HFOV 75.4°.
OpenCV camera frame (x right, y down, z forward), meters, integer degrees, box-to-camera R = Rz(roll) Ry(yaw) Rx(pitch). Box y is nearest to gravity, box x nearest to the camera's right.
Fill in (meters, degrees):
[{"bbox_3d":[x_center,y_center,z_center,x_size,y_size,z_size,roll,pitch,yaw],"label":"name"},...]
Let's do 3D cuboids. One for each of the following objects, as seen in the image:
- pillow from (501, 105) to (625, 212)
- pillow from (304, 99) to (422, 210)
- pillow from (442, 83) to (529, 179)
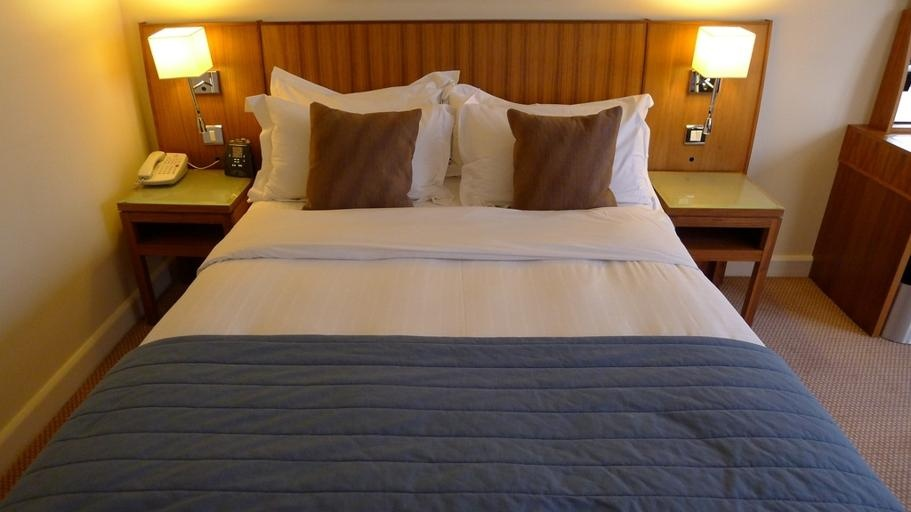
[{"bbox_3d":[0.633,-0.549,3.517,0.745,0.616,0.247,1,-5,2],"label":"pillow"},{"bbox_3d":[-0.561,-0.572,3.536,0.764,0.618,0.249,1,7,-2],"label":"pillow"},{"bbox_3d":[0.126,-0.833,3.740,0.600,0.557,0.176,1,-7,-23],"label":"pillow"}]
